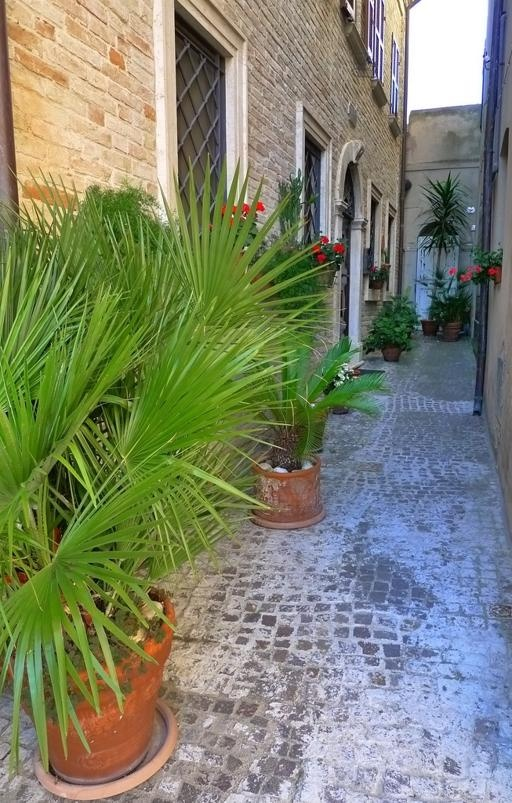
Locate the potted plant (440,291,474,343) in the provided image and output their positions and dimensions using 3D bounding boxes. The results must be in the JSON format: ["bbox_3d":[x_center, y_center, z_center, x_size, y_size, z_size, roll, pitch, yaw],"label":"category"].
[{"bbox_3d":[4.820,-2.041,11.791,1.132,1.200,0.712,-6,8,-37],"label":"potted plant"}]
